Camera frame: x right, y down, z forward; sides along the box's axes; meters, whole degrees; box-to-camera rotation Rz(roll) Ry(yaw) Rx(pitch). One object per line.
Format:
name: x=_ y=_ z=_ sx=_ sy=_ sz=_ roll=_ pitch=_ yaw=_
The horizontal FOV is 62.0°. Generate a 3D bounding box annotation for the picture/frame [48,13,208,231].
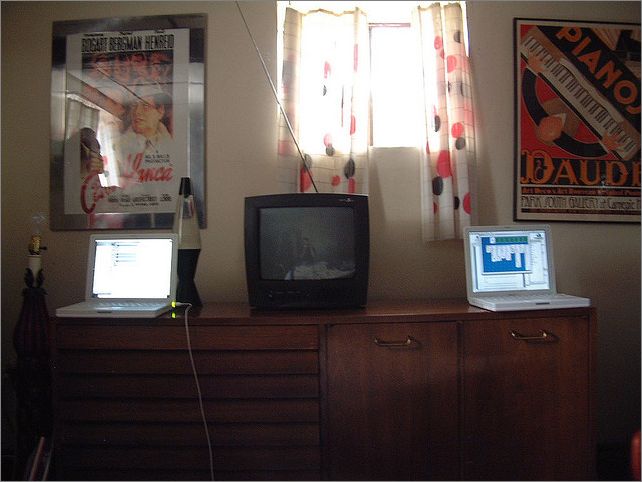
picture/frame: x=-1.047 y=-0.623 z=2.991 sx=1.230 sy=1.602 sz=0.129 roll=0 pitch=0 yaw=5

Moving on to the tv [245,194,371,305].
tv: x=-0.064 y=0.049 z=2.825 sx=0.622 sy=0.570 sz=0.373 roll=-1 pitch=3 yaw=0

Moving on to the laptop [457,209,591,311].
laptop: x=0.974 y=0.073 z=2.695 sx=0.570 sy=0.429 sz=0.448 roll=0 pitch=6 yaw=-4

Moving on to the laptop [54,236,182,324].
laptop: x=-0.958 y=0.157 z=2.506 sx=0.492 sy=0.354 sz=0.411 roll=-1 pitch=2 yaw=4
